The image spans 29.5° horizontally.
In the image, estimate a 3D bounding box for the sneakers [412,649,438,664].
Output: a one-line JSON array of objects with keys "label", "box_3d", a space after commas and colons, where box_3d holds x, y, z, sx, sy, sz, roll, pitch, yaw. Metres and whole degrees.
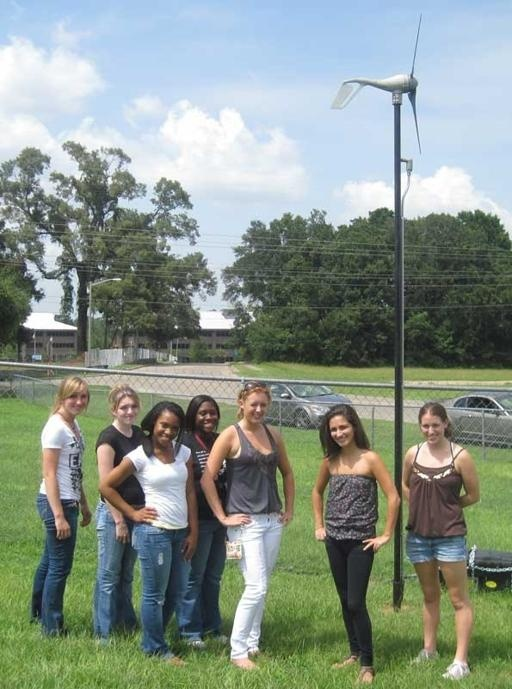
[{"label": "sneakers", "box_3d": [1.097, 2.030, 6.289, 0.185, 0.072, 0.062, 4, -12, -17]}]

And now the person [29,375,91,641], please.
[{"label": "person", "box_3d": [-1.315, 1.077, 6.569, 0.378, 1.709, 0.567, 0, -1, -13]}]

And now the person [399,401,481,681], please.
[{"label": "person", "box_3d": [1.212, 1.218, 6.237, 0.451, 1.668, 0.818, 0, -1, -8]}]

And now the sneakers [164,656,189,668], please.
[{"label": "sneakers", "box_3d": [-0.488, 1.949, 5.952, 0.145, 0.061, 0.047, -7, 3, 38]}]

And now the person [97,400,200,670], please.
[{"label": "person", "box_3d": [-0.641, 1.162, 6.134, 0.636, 1.590, 0.436, 1, -1, -18]}]

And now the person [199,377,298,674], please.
[{"label": "person", "box_3d": [-0.083, 1.140, 6.286, 0.511, 1.763, 0.782, 0, -1, 14]}]

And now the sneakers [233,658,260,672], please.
[{"label": "sneakers", "box_3d": [-0.058, 1.975, 5.981, 0.056, 0.072, 0.166, 2, -16, -41]}]

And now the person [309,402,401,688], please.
[{"label": "person", "box_3d": [0.680, 1.221, 6.185, 0.486, 1.644, 0.951, 0, -1, -10]}]

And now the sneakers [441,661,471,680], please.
[{"label": "sneakers", "box_3d": [1.217, 1.985, 5.893, 0.193, 0.082, 0.070, 7, -11, -38]}]
